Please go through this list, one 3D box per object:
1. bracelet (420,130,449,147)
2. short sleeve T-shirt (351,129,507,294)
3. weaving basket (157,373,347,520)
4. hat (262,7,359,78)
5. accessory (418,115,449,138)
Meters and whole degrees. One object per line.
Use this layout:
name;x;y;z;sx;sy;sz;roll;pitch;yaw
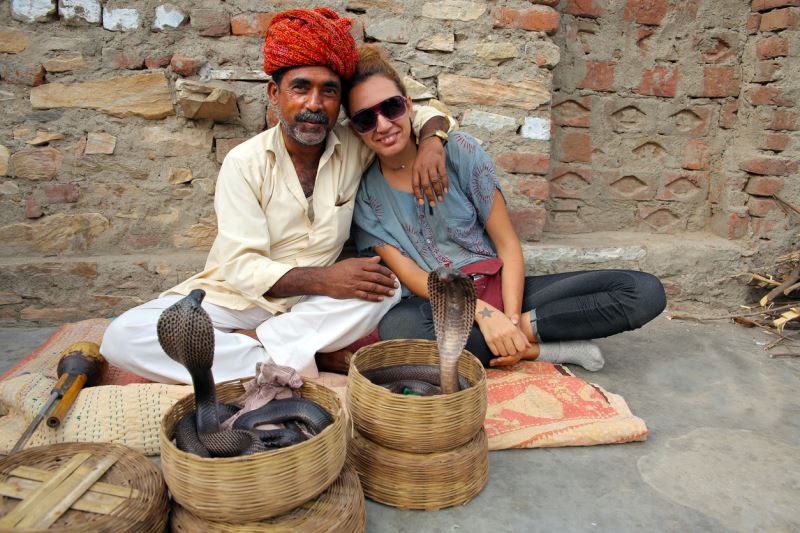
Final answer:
bracelet;0.197;-0.785;3.563;0.136;0.049;0.098;-15;12;9
short sleeve T-shirt;0.228;-0.311;3.793;0.941;0.830;0.476;-13;17;4
weaving basket;-0.593;0.802;2.557;0.825;0.371;0.528;-4;19;-19
hat;-0.505;-1.296;3.361;0.476;0.253;0.395;17;36;5
accessory;0.208;-0.836;3.626;0.121;0.084;0.200;32;42;6
